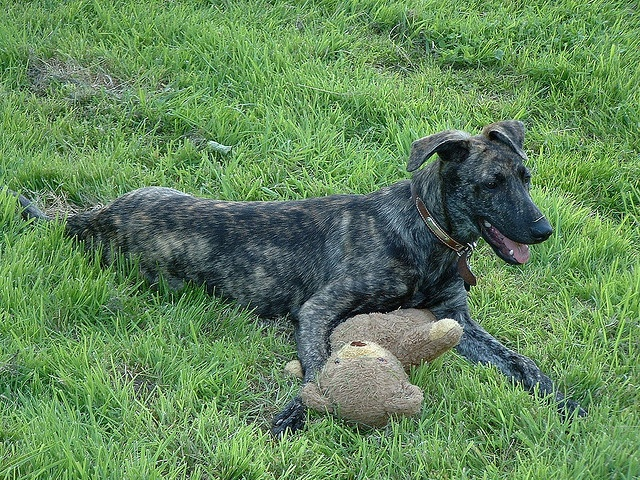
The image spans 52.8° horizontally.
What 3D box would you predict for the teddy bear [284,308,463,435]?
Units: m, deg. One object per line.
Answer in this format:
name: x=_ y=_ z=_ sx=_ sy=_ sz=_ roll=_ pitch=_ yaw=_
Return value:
teddy bear: x=0.249 y=0.703 z=3.835 sx=1.000 sy=0.406 sz=1.001 roll=7 pitch=27 yaw=17
